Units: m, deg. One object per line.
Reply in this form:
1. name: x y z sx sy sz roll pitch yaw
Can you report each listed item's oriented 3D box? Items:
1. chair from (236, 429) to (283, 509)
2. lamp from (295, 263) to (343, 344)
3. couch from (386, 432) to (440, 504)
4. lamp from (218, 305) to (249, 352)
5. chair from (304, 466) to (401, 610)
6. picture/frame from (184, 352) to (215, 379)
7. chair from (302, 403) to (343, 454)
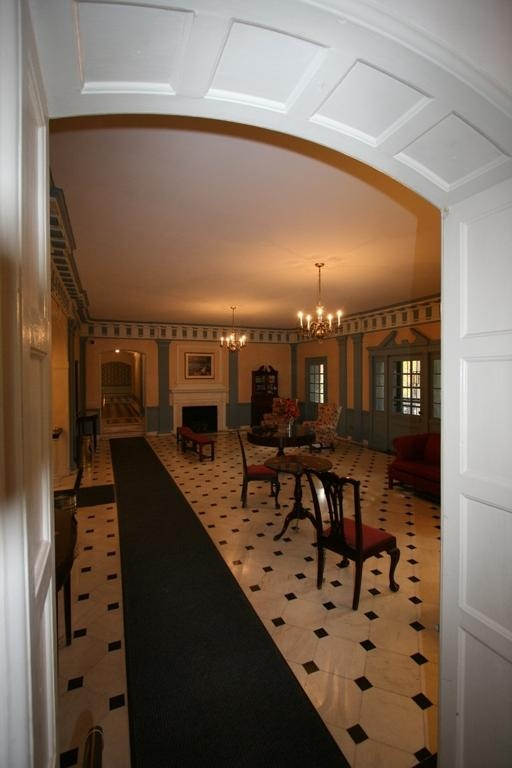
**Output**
1. chair: 0.017 1.090 6.393 0.733 1.424 0.783 -1 0 -5
2. lamp: 0.867 -1.095 6.474 0.552 1.060 0.591 -2 0 -8
3. couch: 2.102 1.138 6.419 0.459 0.677 0.866 2 0 -17
4. lamp: -0.512 -1.224 10.643 0.574 1.170 0.531 -4 10 -25
5. chair: 0.837 1.365 4.235 0.544 1.247 0.674 -12 16 -37
6. picture/frame: -1.425 -0.475 12.156 0.587 0.577 0.039 -2 3 -31
7. chair: 1.353 0.903 10.185 0.823 1.263 0.854 -2 1 -27
